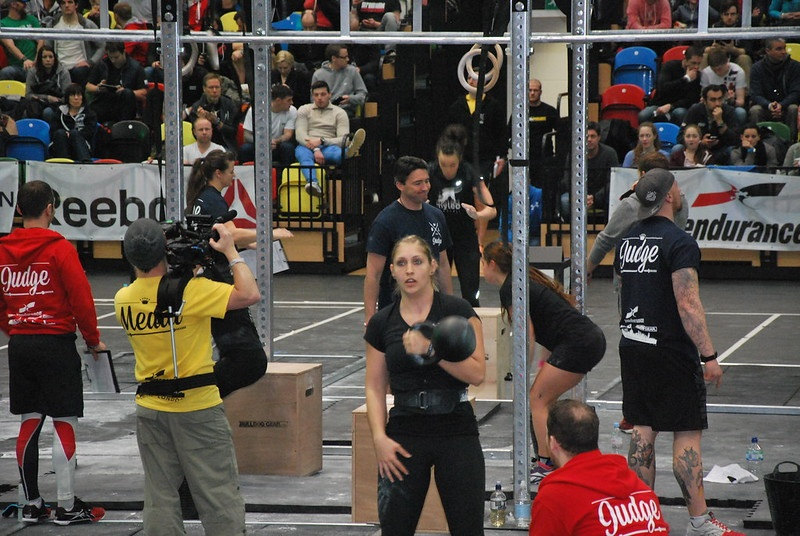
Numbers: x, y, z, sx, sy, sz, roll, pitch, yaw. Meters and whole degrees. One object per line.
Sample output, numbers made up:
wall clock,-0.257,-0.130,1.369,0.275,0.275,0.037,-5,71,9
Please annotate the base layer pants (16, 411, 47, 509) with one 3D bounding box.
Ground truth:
base layer pants,-4.031,2.116,16.061,0.319,0.999,0.369,-3,8,-11

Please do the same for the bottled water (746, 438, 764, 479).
bottled water,4.084,2.180,16.829,0.167,0.411,0.403,0,8,17

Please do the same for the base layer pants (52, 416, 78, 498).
base layer pants,-3.649,2.142,16.039,0.255,0.966,0.348,-3,8,-11

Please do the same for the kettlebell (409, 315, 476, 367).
kettlebell,0.413,0.714,13.841,0.374,0.524,0.625,-9,10,-43

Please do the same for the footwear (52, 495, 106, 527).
footwear,-3.513,2.699,16.080,0.520,0.229,0.259,-2,2,-19
